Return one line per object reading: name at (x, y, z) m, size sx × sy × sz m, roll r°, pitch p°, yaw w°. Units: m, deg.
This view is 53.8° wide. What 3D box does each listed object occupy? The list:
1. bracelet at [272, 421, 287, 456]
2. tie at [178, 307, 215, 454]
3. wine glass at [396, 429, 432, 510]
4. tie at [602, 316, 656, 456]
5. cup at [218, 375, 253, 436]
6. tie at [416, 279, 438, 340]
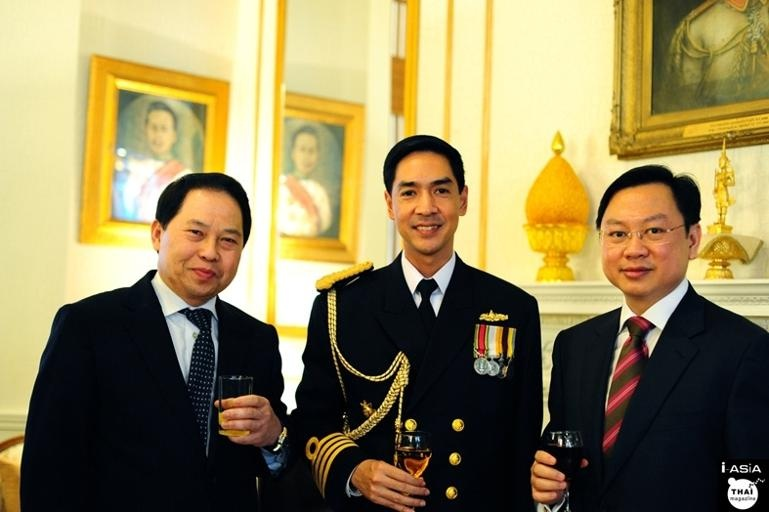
bracelet at (-0.402, 0.732, 3.021) m, size 0.034 × 0.094 × 0.071 m, roll 26°, pitch 0°, yaw 17°
tie at (-0.723, 0.487, 2.977) m, size 0.129 × 0.546 × 0.088 m, roll 9°, pitch -22°, yaw -28°
wine glass at (0.109, 0.751, 2.785) m, size 0.169 × 0.253 × 0.172 m, roll -2°, pitch -1°, yaw -9°
tie at (0.931, 0.479, 2.943) m, size 0.147 × 0.611 × 0.112 m, roll 16°, pitch -30°, yaw 19°
cup at (-0.572, 0.567, 2.914) m, size 0.123 × 0.230 × 0.191 m, roll 0°, pitch -1°, yaw -13°
tie at (0.182, 0.211, 3.062) m, size 0.072 × 0.228 × 0.059 m, roll -2°, pitch -22°, yaw 3°
